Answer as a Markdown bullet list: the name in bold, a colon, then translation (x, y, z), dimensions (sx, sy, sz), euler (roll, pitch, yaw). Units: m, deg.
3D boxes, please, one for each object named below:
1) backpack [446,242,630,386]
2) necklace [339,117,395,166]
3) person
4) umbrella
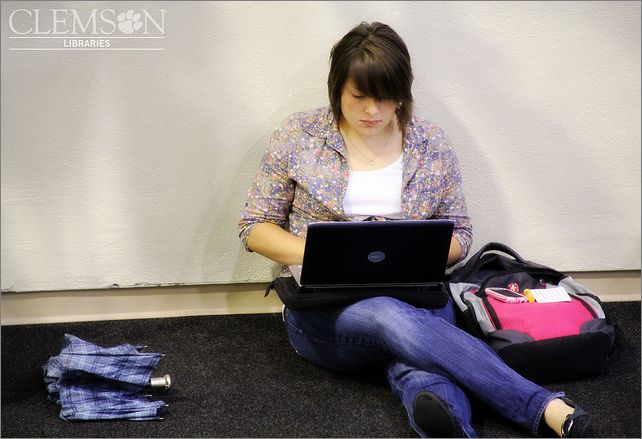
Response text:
- **backpack**: translation (0.800, 0.362, 1.931), dimensions (0.576, 0.203, 0.645), euler (-17, 33, -21)
- **necklace**: translation (0.171, -0.296, 1.825), dimensions (0.193, 0.226, 0.124), euler (-4, 67, 2)
- **person**: translation (0.292, -0.009, 1.662), dimensions (0.759, 1.259, 1.212), euler (-11, 27, -33)
- **umbrella**: translation (-0.736, 0.531, 1.607), dimensions (0.399, 0.200, 0.300), euler (-2, 23, -17)
